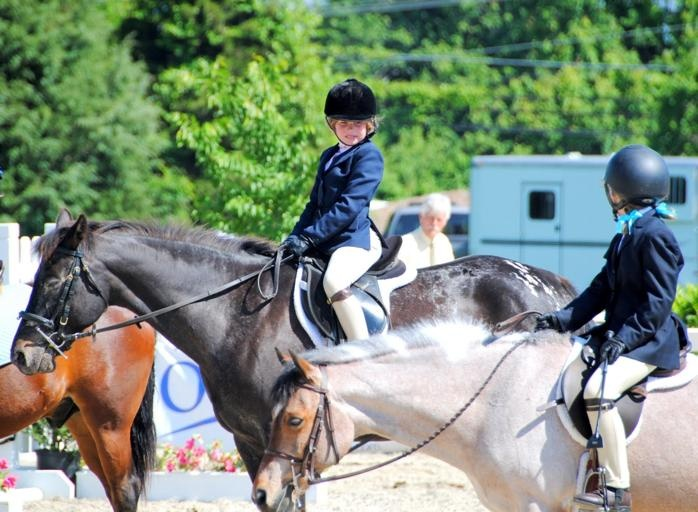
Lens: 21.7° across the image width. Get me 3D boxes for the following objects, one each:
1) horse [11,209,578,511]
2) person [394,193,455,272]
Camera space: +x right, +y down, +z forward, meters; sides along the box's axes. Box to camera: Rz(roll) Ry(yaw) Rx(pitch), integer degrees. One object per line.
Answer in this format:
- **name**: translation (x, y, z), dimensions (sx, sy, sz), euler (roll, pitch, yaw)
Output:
- **horse**: translation (-0.118, 3.534, 35.017), dimensions (12.328, 8.087, 3.192), euler (2, -9, 1)
- **person**: translation (1.568, -0.412, 37.388), dimensions (0.952, 1.663, 0.869), euler (-5, 13, -22)
